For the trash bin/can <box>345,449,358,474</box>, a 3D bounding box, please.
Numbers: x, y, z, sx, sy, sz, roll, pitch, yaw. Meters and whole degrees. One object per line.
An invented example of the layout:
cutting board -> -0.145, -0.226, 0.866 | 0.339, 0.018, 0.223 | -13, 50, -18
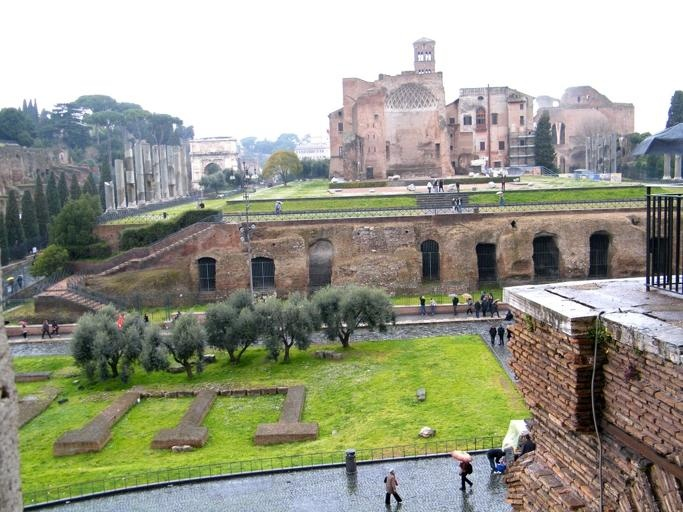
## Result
trash bin/can -> 0.245, 5.333, 17.942 | 0.298, 0.643, 0.404 | -4, 10, -1

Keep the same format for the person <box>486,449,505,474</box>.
person -> 3.880, 5.158, 17.295 | 0.546, 0.812, 0.352 | 1, 8, 17

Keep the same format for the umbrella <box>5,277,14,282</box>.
umbrella -> -20.322, 1.483, 42.146 | 0.322, 0.177, 0.348 | -1, -1, 34

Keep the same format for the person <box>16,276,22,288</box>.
person -> -19.260, 1.600, 41.188 | 0.379, 0.284, 0.824 | -2, 13, -16

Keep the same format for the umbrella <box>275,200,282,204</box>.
umbrella -> -4.152, -3.537, 45.573 | 0.589, 0.278, 0.955 | 0, 4, -8

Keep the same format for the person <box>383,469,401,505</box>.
person -> 1.221, 5.359, 16.445 | 0.386, 1.047, 1.101 | -3, 10, 3

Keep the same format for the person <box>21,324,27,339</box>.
person -> -14.739, 3.501, 31.961 | 0.257, 0.616, 0.828 | -9, 12, -25
